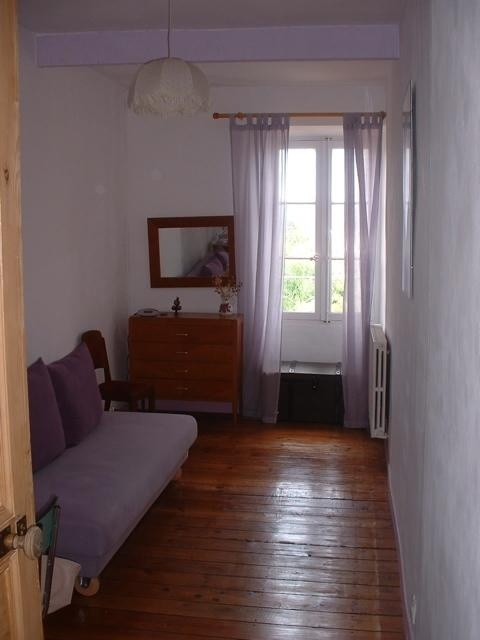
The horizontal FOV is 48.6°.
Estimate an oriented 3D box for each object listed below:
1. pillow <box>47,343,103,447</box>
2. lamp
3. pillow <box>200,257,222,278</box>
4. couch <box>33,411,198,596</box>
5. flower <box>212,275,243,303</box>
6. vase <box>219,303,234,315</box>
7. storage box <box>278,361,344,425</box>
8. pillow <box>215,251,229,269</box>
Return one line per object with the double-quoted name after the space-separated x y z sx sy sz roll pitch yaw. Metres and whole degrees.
-1.036 0.485 3.405 0.169 0.566 0.618 -4 12 2 "pillow"
-0.368 -1.194 2.742 0.417 0.236 0.298 -1 5 -8 "lamp"
-0.261 -0.497 5.150 0.126 0.210 0.185 6 28 9 "pillow"
-0.728 0.945 2.886 0.608 0.433 1.512 1 6 10 "couch"
-0.127 -0.309 5.051 0.194 0.332 0.232 3 10 10 "flower"
-0.133 -0.114 4.917 0.068 0.141 0.127 5 -18 26 "vase"
0.637 0.708 4.812 0.596 0.473 0.111 1 4 14 "storage box"
-0.171 -0.570 5.043 0.101 0.188 0.044 -3 8 14 "pillow"
